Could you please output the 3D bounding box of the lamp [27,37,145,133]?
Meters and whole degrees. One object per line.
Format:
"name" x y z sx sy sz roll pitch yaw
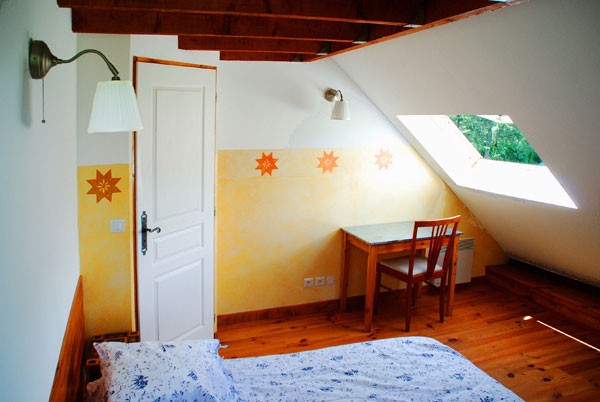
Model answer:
"lamp" -1.177 -0.648 2.463 0.560 0.453 0.326 -4 13 -28

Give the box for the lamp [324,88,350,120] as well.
"lamp" 0.401 -0.980 4.364 0.173 0.295 0.305 -5 16 -30

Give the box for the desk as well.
"desk" 1.162 0.720 4.896 1.240 0.944 0.706 -7 15 -20
